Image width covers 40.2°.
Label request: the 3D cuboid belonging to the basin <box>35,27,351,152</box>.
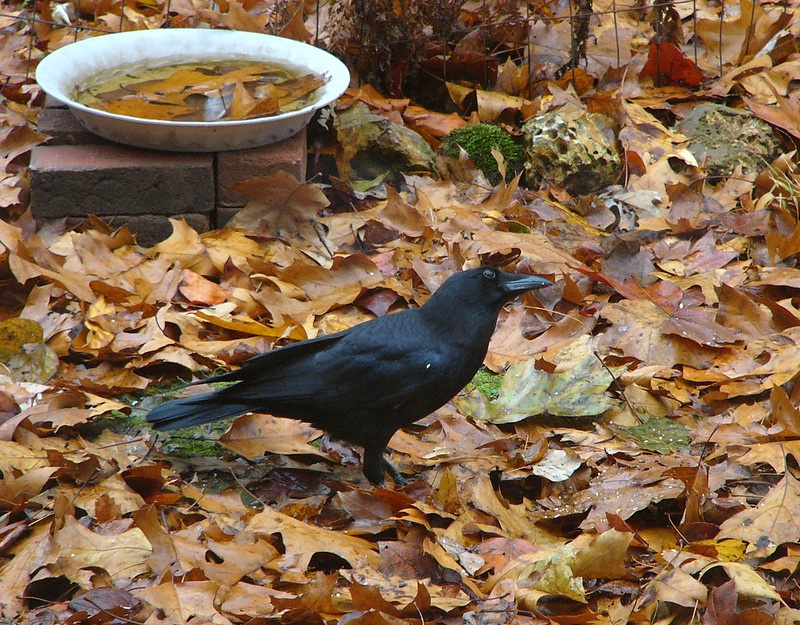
[{"bbox_3d":[-1.151,-1.294,6.076,1.644,0.442,1.143,-9,46,-13],"label":"basin"}]
